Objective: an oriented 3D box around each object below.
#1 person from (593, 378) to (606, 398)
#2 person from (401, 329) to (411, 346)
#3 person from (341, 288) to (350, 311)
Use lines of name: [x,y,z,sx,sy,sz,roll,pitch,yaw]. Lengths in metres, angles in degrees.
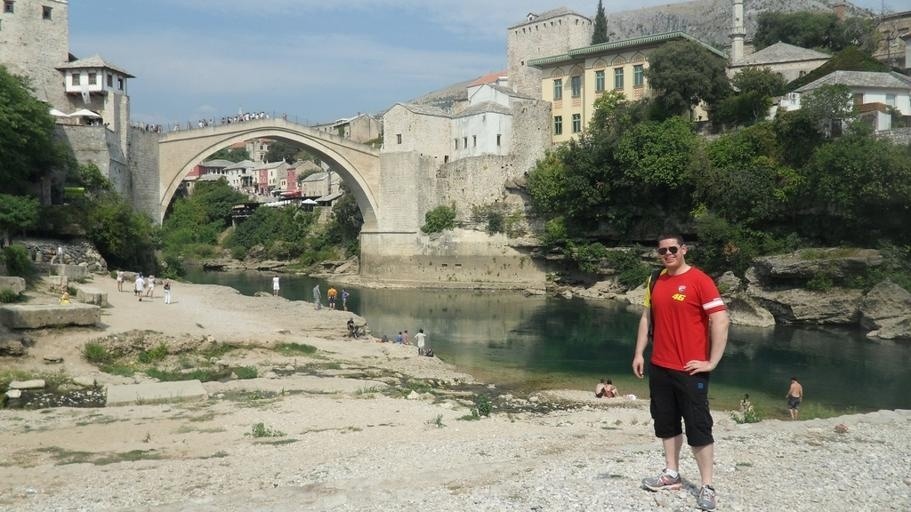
person: [8.888,8.184,59.920,0.592,1.022,0.389,22,-27,-4]
person: [-3.619,5.754,68.427,0.664,0.995,0.817,0,7,42]
person: [-9.212,3.754,82.527,0.916,2.206,1.240,5,-14,-15]
